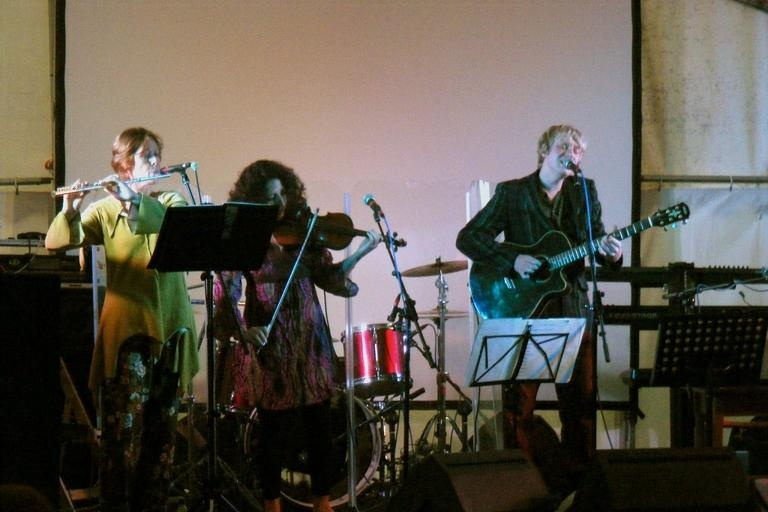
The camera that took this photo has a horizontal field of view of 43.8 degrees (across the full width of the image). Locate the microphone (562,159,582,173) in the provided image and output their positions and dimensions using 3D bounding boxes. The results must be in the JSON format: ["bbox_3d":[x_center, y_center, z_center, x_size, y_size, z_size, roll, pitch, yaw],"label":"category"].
[{"bbox_3d":[1.482,-0.695,7.452,0.145,0.126,0.179,-3,-6,25],"label":"microphone"}]

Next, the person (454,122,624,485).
[{"bbox_3d":[1.275,0.401,7.528,1.275,2.942,0.880,1,1,5],"label":"person"}]

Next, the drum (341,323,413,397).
[{"bbox_3d":[-0.054,0.898,8.149,0.554,0.560,0.571,-2,-10,6],"label":"drum"}]

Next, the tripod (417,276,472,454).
[{"bbox_3d":[0.517,1.053,8.596,0.545,1.326,0.951,0,-1,7],"label":"tripod"}]

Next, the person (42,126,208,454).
[{"bbox_3d":[-1.776,0.080,7.019,1.058,2.590,0.845,0,-1,28],"label":"person"}]
